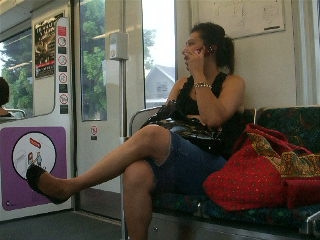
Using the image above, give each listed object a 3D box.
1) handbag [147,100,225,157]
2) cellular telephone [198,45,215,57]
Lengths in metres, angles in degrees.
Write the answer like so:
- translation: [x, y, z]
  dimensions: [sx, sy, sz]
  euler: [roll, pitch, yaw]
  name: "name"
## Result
- translation: [0.158, 0.129, 1.700]
  dimensions: [0.347, 0.134, 0.347]
  euler: [24, 8, -16]
  name: "handbag"
- translation: [0.336, -0.477, 1.965]
  dimensions: [0.061, 0.085, 0.071]
  euler: [5, -27, -18]
  name: "cellular telephone"
